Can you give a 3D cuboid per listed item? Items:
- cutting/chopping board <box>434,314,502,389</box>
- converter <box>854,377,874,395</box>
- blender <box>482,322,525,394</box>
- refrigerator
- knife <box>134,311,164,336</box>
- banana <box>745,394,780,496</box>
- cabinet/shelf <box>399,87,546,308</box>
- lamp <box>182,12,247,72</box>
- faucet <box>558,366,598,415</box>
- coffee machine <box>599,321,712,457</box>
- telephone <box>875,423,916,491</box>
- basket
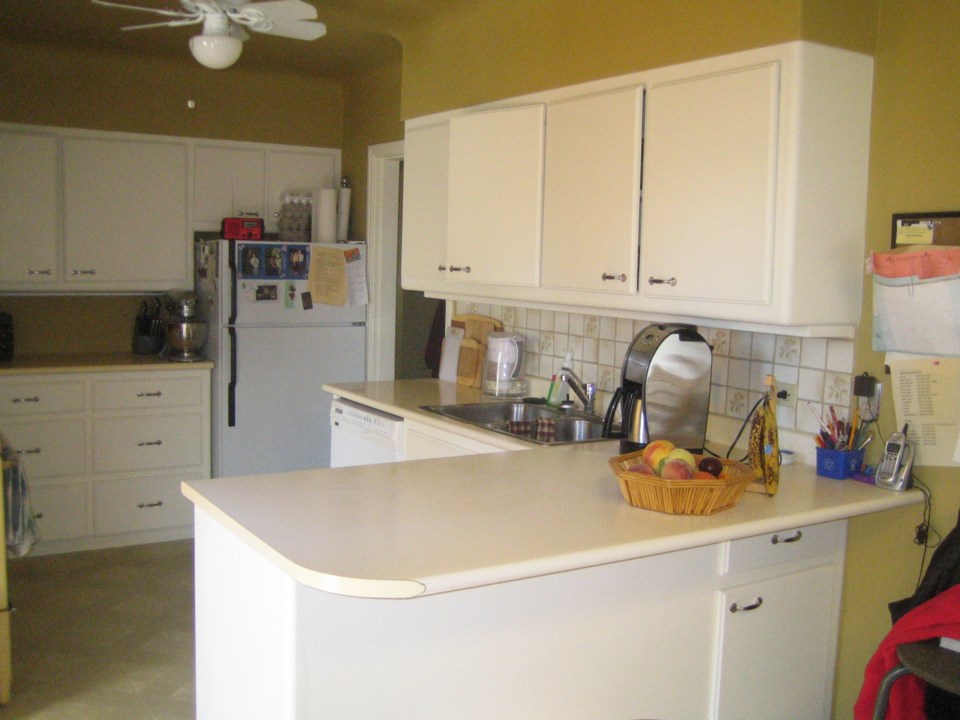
[{"bbox_3d":[-0.051,-0.042,4.174,0.176,0.354,0.357,4,5,-24],"label":"cutting/chopping board"},{"bbox_3d":[1.315,0.087,2.662,0.027,0.056,0.052,-6,10,-45],"label":"converter"},{"bbox_3d":[0.125,0.022,3.991,0.190,0.328,0.217,5,8,14],"label":"blender"},{"bbox_3d":[-1.404,-0.030,5.337,0.889,1.695,0.817,-2,8,-28],"label":"refrigerator"},{"bbox_3d":[-2.211,-0.244,5.169,0.133,0.206,0.200,-1,7,-43],"label":"knife"},{"bbox_3d":[0.894,0.245,2.444,0.089,0.343,0.101,-4,9,-12],"label":"banana"},{"bbox_3d":[0.023,-0.772,3.665,0.386,0.838,0.735,-5,11,-29],"label":"cabinet/shelf"},{"bbox_3d":[-0.972,-1.180,2.903,0.192,0.172,0.168,-1,10,-14],"label":"lamp"},{"bbox_3d":[0.452,0.127,3.563,0.165,0.204,0.281,3,10,9],"label":"faucet"},{"bbox_3d":[0.661,0.079,2.914,0.234,0.525,0.292,-3,10,-24],"label":"coffee machine"},{"bbox_3d":[1.364,0.328,2.543,0.115,0.173,0.064,1,10,-2],"label":"telephone"},{"bbox_3d":[0.545,0.336,2.335,0.313,0.137,0.369,0,8,-25],"label":"basket"}]
